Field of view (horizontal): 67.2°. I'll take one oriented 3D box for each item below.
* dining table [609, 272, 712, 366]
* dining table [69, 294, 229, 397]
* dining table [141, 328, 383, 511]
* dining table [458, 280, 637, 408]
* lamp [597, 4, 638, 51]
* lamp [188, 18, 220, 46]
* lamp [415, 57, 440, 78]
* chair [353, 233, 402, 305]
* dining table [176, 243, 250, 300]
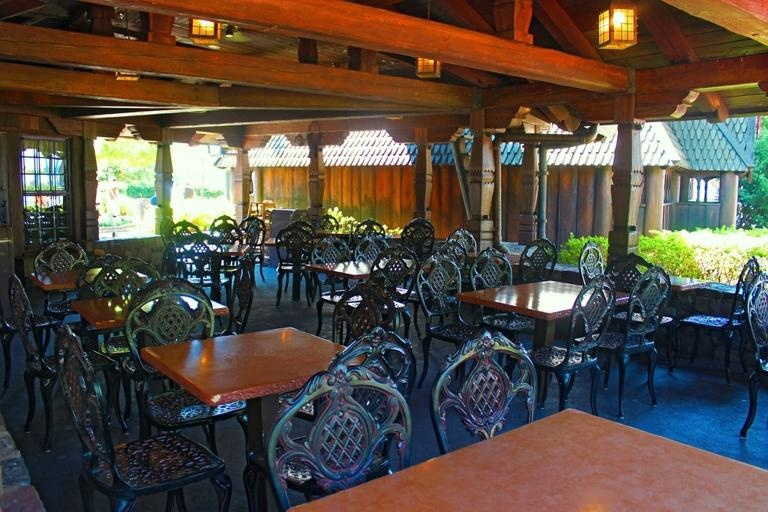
[{"bbox_3d":[2.748,0.631,5.681,0.667,0.710,0.832,-10,14,-32],"label":"dining table"},{"bbox_3d":[-2.174,0.569,4.892,0.914,0.668,0.892,-4,8,-38],"label":"dining table"},{"bbox_3d":[-0.767,0.702,3.653,1.084,1.024,1.059,-8,14,-37],"label":"dining table"},{"bbox_3d":[1.473,1.097,5.404,0.966,1.113,1.798,7,10,43],"label":"dining table"},{"bbox_3d":[2.057,-2.019,5.033,0.297,0.384,0.179,1,6,16],"label":"lamp"},{"bbox_3d":[-1.653,-2.074,5.294,0.264,0.183,0.437,-2,6,-19],"label":"lamp"},{"bbox_3d":[0.481,-2.048,6.255,0.237,0.204,0.450,0,5,0],"label":"lamp"},{"bbox_3d":[-0.116,0.151,7.553,0.924,0.904,0.639,-1,3,-27],"label":"chair"},{"bbox_3d":[-2.150,0.177,7.194,0.699,0.686,0.580,4,15,15],"label":"dining table"}]
